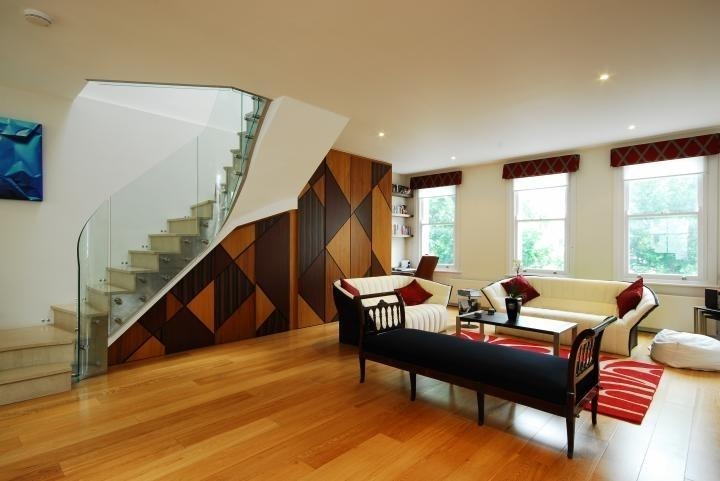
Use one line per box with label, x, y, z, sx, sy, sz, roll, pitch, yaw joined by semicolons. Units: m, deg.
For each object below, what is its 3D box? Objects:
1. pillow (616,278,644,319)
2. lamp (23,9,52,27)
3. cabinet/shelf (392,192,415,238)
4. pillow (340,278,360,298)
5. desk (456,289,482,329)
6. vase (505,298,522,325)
pillow;3.894;0.801;6.728;0.150;0.498;0.520;20;-23;11
lamp;-3.060;-2.122;4.437;0.222;0.079;0.169;1;-1;-37
cabinet/shelf;0.951;-0.547;10.379;0.312;0.917;0.982;-3;-4;32
pillow;-0.153;0.685;6.883;0.202;0.258;0.341;-11;26;-17
desk;1.817;1.103;7.733;0.320;0.554;0.328;-1;-2;38
vase;2.033;0.944;6.286;0.273;0.403;0.279;-2;0;11
